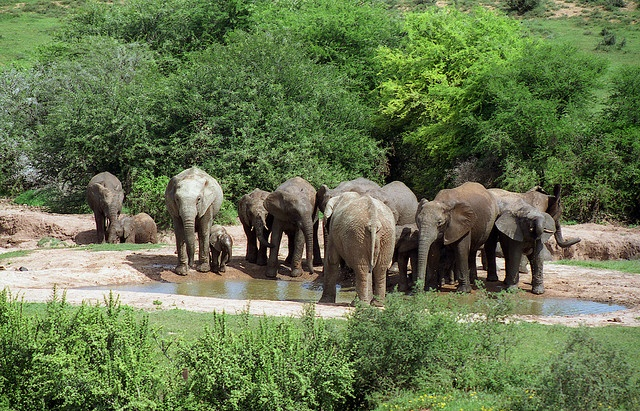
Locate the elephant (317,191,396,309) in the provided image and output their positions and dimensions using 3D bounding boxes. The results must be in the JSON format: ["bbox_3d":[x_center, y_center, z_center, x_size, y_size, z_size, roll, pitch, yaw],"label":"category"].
[{"bbox_3d":[1.191,1.464,23.073,2.277,3.797,1.142,0,2,31],"label":"elephant"}]

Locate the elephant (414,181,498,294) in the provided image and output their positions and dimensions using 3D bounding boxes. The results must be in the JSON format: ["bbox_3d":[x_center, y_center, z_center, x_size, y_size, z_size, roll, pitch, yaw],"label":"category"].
[{"bbox_3d":[4.849,1.124,25.139,4.050,3.971,1.610,-2,2,-41],"label":"elephant"}]

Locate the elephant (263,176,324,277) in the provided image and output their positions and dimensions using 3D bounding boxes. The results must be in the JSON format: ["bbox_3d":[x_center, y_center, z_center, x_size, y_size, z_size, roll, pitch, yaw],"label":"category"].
[{"bbox_3d":[-1.168,0.906,27.645,1.947,3.871,1.993,-1,2,1],"label":"elephant"}]

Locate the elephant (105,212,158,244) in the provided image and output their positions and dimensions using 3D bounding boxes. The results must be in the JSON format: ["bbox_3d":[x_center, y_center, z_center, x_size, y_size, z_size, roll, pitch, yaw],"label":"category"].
[{"bbox_3d":[-8.459,1.080,31.444,2.261,1.275,0.596,-2,2,-37],"label":"elephant"}]

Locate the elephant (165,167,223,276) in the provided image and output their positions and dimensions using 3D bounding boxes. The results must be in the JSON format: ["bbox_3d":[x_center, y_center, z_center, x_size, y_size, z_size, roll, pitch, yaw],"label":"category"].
[{"bbox_3d":[-4.751,0.582,26.657,1.729,4.118,1.345,-2,2,-36],"label":"elephant"}]

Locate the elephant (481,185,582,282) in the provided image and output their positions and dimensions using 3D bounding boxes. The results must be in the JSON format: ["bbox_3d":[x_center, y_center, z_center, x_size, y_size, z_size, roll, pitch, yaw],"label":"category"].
[{"bbox_3d":[7.674,0.442,27.669,4.856,3.409,2.259,0,5,28],"label":"elephant"}]
